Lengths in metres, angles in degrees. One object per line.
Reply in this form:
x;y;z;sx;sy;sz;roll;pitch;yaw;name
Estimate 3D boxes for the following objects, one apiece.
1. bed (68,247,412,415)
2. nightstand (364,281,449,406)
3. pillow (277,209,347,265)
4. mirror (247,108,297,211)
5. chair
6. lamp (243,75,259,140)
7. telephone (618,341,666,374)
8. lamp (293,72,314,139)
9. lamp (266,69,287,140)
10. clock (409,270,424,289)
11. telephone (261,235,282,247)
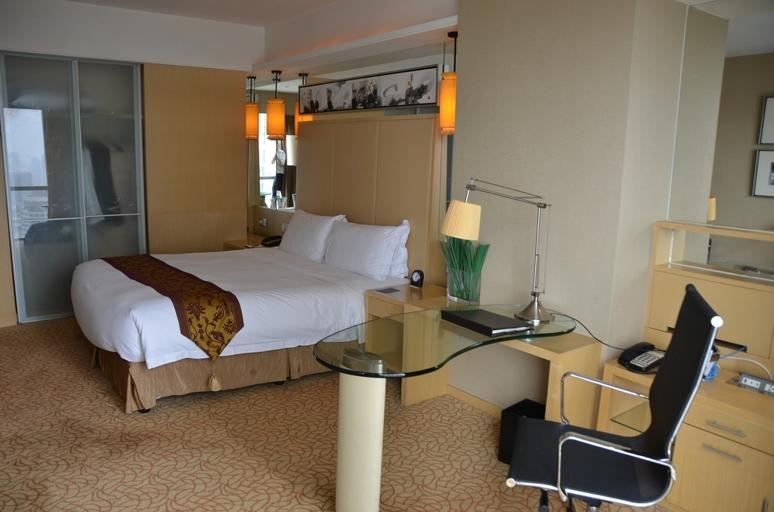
-1.756;0.463;5.466;2.788;0.622;2.730;-4;13;29;bed
0.144;0.645;3.939;0.477;0.796;0.853;-6;11;-29;nightstand
-0.766;-0.214;5.850;0.584;0.561;0.174;10;-14;43;pillow
-1.436;-1.152;6.922;0.720;1.141;0.301;4;8;7;mirror
1.138;0.750;2.937;0.870;1.155;0.478;3;11;8;chair
-1.711;-1.846;7.051;0.183;0.792;0.460;-2;12;-14;lamp
1.697;0.664;3.707;0.254;0.086;0.177;-14;17;-34;telephone
-0.988;-1.732;6.494;0.179;0.732;0.486;-5;13;-27;lamp
-1.329;-1.816;6.718;0.231;0.763;0.224;-5;17;-27;lamp
0.268;0.218;5.090;0.061;0.180;0.129;-13;21;-41;clock
-1.359;-0.167;6.619;0.171;0.066;0.177;-22;16;-31;telephone
